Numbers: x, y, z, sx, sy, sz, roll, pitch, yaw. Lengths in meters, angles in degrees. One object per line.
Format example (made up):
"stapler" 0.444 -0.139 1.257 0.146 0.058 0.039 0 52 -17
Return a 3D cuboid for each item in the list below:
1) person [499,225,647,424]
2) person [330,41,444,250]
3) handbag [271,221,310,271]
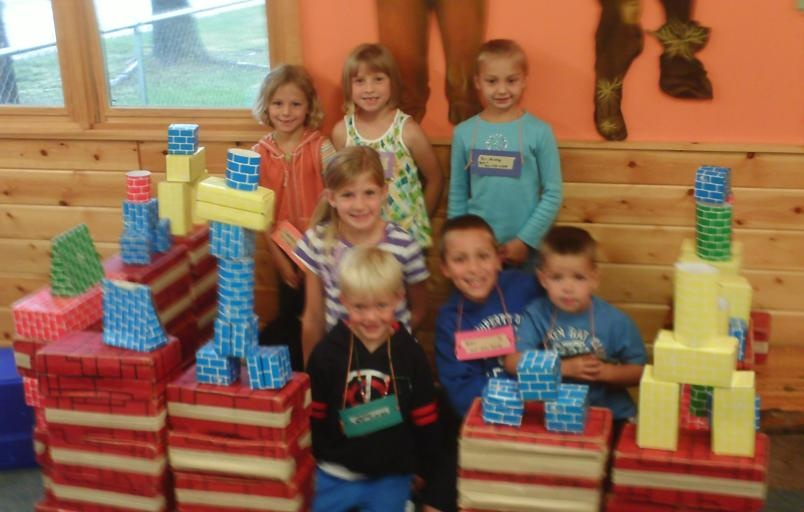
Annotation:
"person" 0.766 0.417 3.205 0.764 0.976 0.659 -3 14 5
"person" -0.126 -0.357 3.788 0.608 1.487 0.516 3 14 15
"handbag" -0.566 -0.057 3.552 0.173 0.223 0.370 -1 7 -10
